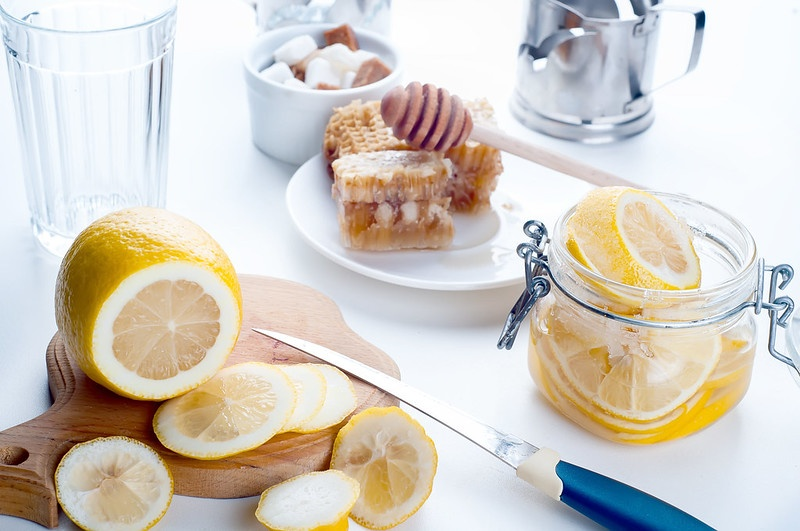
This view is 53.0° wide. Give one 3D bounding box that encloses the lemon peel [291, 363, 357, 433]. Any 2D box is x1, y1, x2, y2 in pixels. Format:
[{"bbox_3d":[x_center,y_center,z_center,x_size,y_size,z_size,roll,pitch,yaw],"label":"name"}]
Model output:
[{"bbox_3d":[-0.102,0.169,1.060,0.081,0.069,0.097,-2,28,-10],"label":"lemon peel"}]
